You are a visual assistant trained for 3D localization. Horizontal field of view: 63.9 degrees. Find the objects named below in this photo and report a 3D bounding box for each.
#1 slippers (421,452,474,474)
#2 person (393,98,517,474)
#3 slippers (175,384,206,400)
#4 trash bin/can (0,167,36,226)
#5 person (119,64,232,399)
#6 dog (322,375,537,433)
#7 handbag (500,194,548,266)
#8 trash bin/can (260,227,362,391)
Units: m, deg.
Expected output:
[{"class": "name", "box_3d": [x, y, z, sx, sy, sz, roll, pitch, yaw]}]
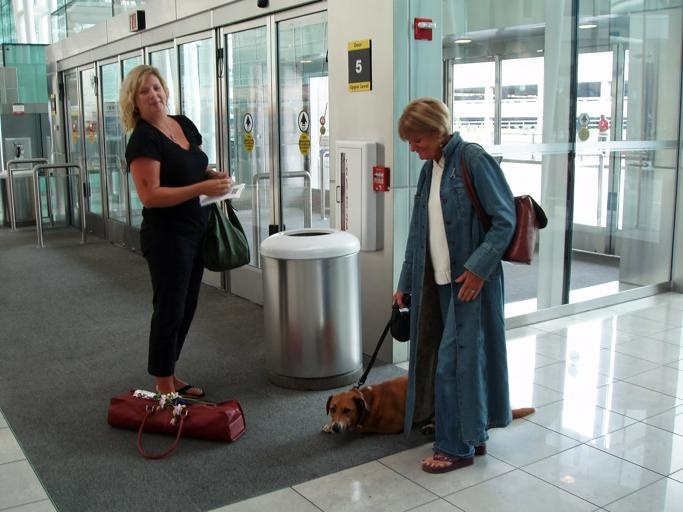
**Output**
[{"class": "slippers", "box_3d": [0.577, 1.107, 2.960, 0.214, 0.075, 0.121, 0, 2, -9]}, {"class": "person", "box_3d": [0.595, 0.162, 2.914, 0.643, 1.954, 0.407, 4, 12, 20]}, {"class": "slippers", "box_3d": [-1.060, 0.952, 3.883, 0.226, 0.058, 0.085, 13, 13, 1]}, {"class": "trash bin/can", "box_3d": [-6.436, -1.182, 10.940, 0.568, 1.087, 1.004, -9, 15, -33]}, {"class": "person", "box_3d": [-1.064, -0.097, 3.593, 0.553, 2.228, 0.520, -6, 13, -22]}, {"class": "dog", "box_3d": [0.312, 0.907, 3.335, 0.738, 0.233, 0.216, -3, -4, -22]}, {"class": "handbag", "box_3d": [0.967, -0.134, 2.908, 0.225, 0.384, 0.357, 7, 1, 21]}, {"class": "trash bin/can", "box_3d": [-0.221, 0.337, 4.180, 0.724, 1.145, 0.748, 1, 16, 5]}]
